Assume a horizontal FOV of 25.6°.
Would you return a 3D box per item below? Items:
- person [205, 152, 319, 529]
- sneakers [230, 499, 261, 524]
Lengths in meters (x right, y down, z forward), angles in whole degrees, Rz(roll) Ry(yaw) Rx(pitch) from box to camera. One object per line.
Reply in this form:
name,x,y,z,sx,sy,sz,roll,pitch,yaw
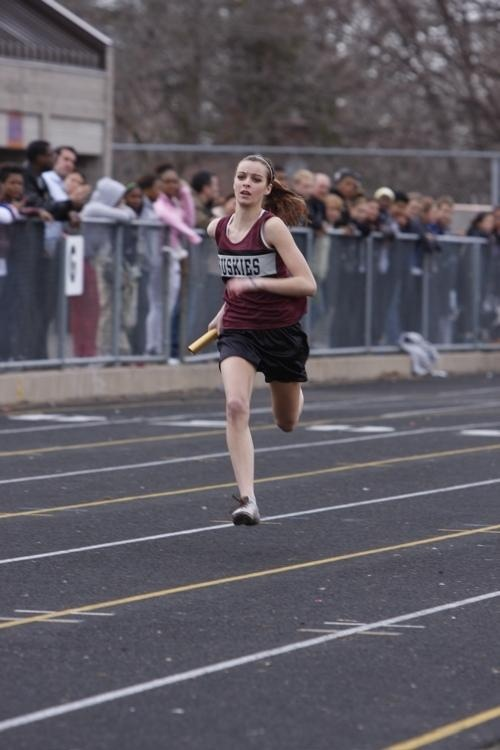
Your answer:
person,0.035,-0.156,4.840,0.487,1.673,1.115,2,5,0
sneakers,-0.011,0.551,4.424,0.082,0.127,0.086,-1,48,2
